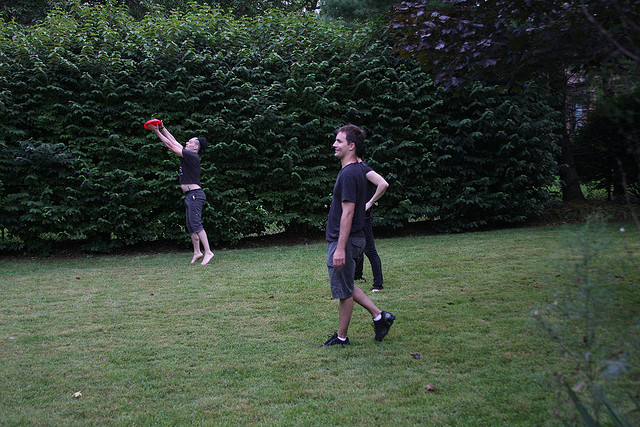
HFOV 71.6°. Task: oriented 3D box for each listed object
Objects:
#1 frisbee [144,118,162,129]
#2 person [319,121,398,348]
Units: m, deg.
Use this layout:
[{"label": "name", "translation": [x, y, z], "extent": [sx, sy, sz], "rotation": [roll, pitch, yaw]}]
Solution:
[{"label": "frisbee", "translation": [-2.884, -1.566, 7.641], "extent": [0.233, 0.122, 0.324], "rotation": [-6, 7, -27]}, {"label": "person", "translation": [0.411, 0.152, 5.070], "extent": [0.748, 2.261, 1.573], "rotation": [-2, 7, 8]}]
